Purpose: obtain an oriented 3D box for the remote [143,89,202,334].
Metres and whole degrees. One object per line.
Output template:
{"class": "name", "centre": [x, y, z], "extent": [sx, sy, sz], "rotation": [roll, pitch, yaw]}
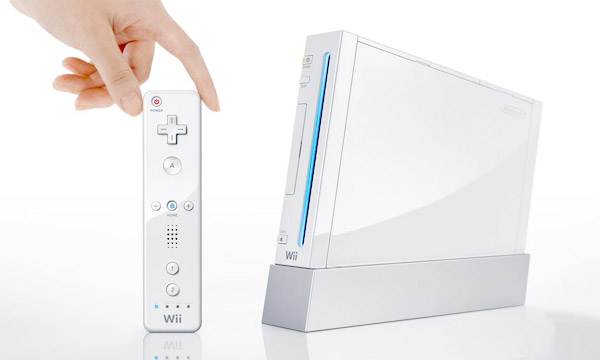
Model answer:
{"class": "remote", "centre": [-0.310, 0.069, 1.203], "extent": [0.132, 0.567, 0.122], "rotation": [0, 9, -12]}
